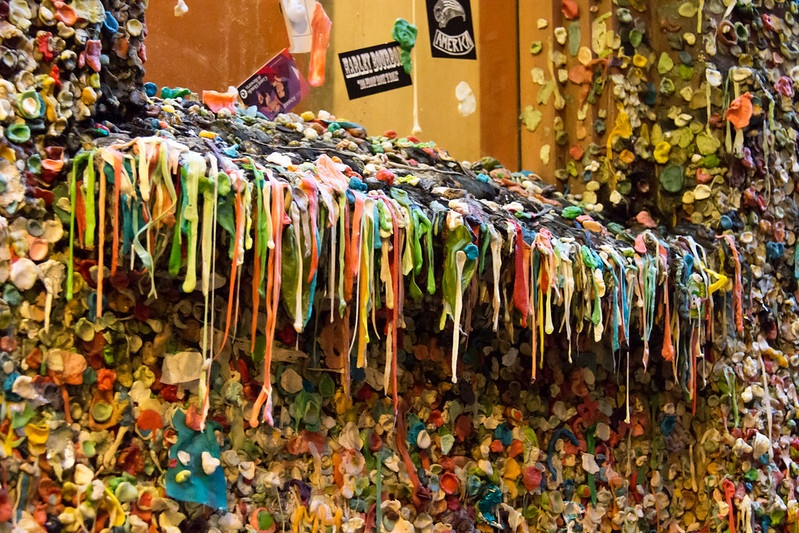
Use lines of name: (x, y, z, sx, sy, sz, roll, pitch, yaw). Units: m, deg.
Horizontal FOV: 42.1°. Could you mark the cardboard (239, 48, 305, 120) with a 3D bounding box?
cardboard: (-0.484, -0.679, 3.941, 0.240, 0.248, 0.056, -40, 25, -12)
